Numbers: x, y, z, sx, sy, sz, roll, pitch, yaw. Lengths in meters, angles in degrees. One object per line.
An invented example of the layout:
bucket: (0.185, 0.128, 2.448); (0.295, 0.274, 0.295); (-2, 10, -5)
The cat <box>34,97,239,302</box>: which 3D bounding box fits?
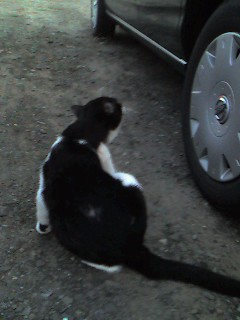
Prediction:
cat: (-0.049, 0.087, 1.378); (0.527, 0.439, 1.022); (-10, 56, -25)
